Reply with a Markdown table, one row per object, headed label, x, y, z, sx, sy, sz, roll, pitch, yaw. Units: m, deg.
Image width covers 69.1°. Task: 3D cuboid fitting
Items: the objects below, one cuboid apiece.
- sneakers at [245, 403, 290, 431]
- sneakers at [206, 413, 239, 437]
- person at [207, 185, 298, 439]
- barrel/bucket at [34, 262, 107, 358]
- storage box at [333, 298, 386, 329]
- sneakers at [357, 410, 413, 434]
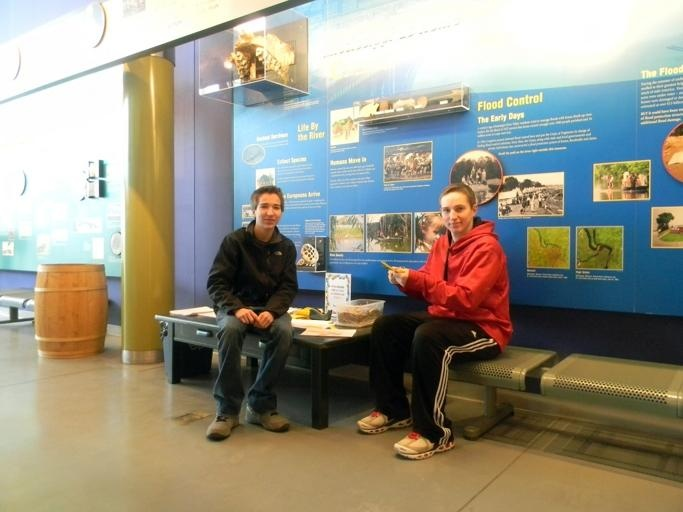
| label | x | y | z | sx | sy | sz | roll | pitch | yaw |
| --- | --- | --- | --- | --- | --- | --- | --- | --- | --- |
| sneakers | -0.501 | 1.088 | 3.387 | 0.313 | 0.125 | 0.122 | -2 | -7 | 37 |
| sneakers | -0.769 | 1.097 | 3.252 | 0.140 | 0.111 | 0.259 | 2 | 6 | 22 |
| person | -0.626 | 0.326 | 3.475 | 0.644 | 1.638 | 0.767 | -1 | 6 | -8 |
| barrel/bucket | -2.788 | 0.558 | 5.185 | 0.661 | 0.883 | 0.664 | 0 | -1 | 0 |
| storage box | 0.156 | 0.426 | 3.817 | 0.209 | 0.130 | 0.313 | 3 | 4 | 43 |
| sneakers | 0.288 | 1.104 | 3.362 | 0.358 | 0.161 | 0.129 | 6 | -8 | -27 |
